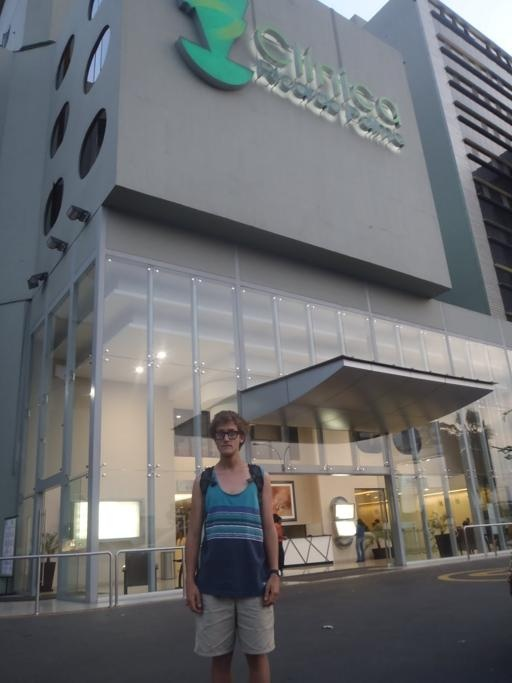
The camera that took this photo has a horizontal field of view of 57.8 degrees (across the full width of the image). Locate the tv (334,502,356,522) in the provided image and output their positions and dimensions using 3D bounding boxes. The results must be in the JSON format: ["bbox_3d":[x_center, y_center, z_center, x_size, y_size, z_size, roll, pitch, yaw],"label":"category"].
[{"bbox_3d":[4.061,7.916,21.706,1.103,1.125,0.618,4,-23,-9],"label":"tv"}]

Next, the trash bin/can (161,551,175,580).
[{"bbox_3d":[-1.882,4.829,10.013,0.290,0.524,0.141,-3,-4,-14],"label":"trash bin/can"}]

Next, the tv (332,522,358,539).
[{"bbox_3d":[3.978,8.424,20.869,0.851,0.543,1.202,-5,-5,3],"label":"tv"}]

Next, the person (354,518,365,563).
[{"bbox_3d":[3.715,7.250,16.722,0.323,1.397,1.094,-4,-4,12],"label":"person"}]
